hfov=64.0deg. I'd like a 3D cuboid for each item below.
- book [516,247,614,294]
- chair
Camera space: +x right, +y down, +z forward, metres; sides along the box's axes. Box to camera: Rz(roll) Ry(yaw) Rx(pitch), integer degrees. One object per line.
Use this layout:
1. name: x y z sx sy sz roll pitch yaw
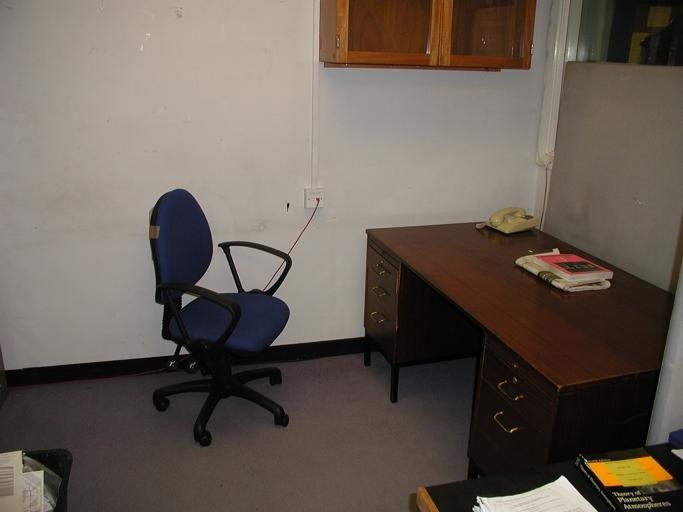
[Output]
1. book: 1.089 0.060 2.728 0.231 0.071 0.282 -5 21 -15
2. chair: -0.673 0.301 3.001 0.699 1.255 0.779 5 21 3
